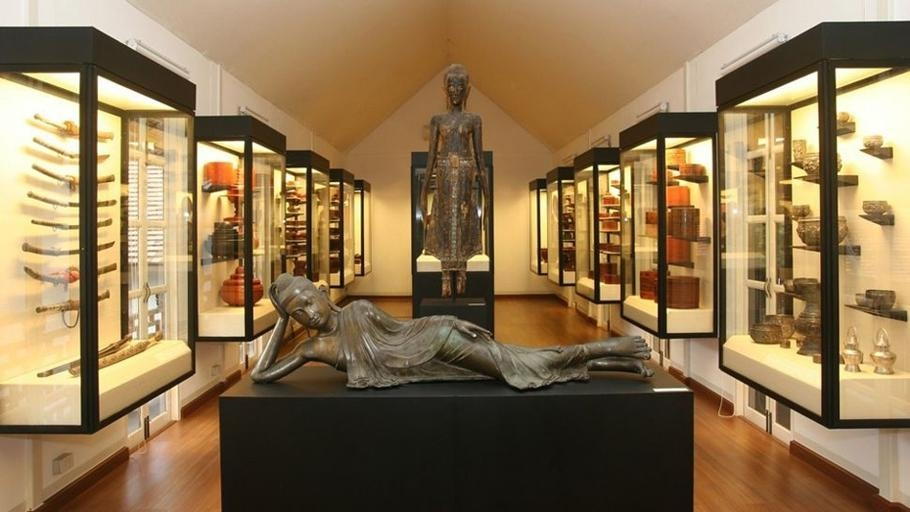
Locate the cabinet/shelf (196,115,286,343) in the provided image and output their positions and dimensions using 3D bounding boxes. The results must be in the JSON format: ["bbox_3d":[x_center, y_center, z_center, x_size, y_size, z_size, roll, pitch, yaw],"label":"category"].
[{"bbox_3d":[-2.347,-0.289,6.743,1.126,2.429,0.641,-2,1,-38],"label":"cabinet/shelf"}]

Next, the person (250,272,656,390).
[{"bbox_3d":[0.001,0.663,5.269,3.085,0.919,1.424,-1,-3,4],"label":"person"}]

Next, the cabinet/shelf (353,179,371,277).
[{"bbox_3d":[-1.959,-0.590,12.864,0.321,1.943,1.118,-1,1,-4],"label":"cabinet/shelf"}]

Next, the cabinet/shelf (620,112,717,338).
[{"bbox_3d":[2.389,-0.335,6.980,1.138,2.548,0.637,0,1,34],"label":"cabinet/shelf"}]

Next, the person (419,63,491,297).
[{"bbox_3d":[-0.029,-0.760,6.491,0.600,2.334,0.496,0,1,38],"label":"person"}]
